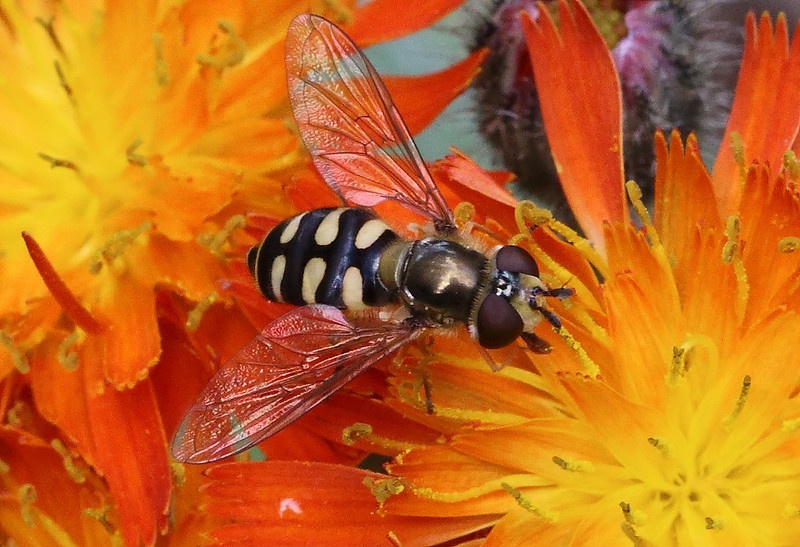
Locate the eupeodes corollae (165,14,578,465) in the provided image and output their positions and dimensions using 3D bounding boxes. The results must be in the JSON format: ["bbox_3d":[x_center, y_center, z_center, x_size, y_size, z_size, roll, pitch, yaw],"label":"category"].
[{"bbox_3d":[-0.054,0.000,0.946,0.406,0.129,0.444,22,46,13],"label":"eupeodes corollae"}]
